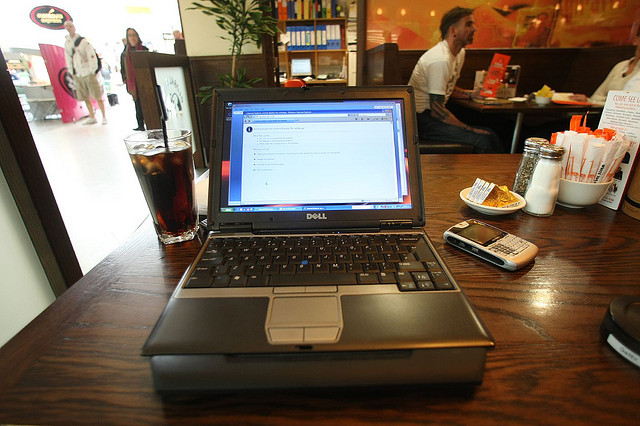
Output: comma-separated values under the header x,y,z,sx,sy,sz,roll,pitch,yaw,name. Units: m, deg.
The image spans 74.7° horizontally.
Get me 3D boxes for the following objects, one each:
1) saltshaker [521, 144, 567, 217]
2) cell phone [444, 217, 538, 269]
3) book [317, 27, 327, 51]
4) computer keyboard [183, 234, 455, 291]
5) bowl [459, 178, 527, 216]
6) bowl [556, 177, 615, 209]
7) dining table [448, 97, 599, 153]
x,y,z,sx,sy,sz,roll,pitch,yaw,name
0.674,-0.088,1.212,0.099,0.192,0.095,-14,21,-32,saltshaker
0.434,0.074,1.058,0.116,0.036,0.174,-25,40,-37,cell phone
0.026,-2.039,4.940,0.126,0.248,0.043,-4,30,1,book
-0.002,0.112,0.967,0.584,0.064,0.159,-2,25,2,computer keyboard
0.498,-0.039,1.211,0.137,0.050,0.136,2,18,-1,bowl
0.784,-0.062,1.247,0.125,0.055,0.111,2,20,6,bowl
1.769,-0.619,3.317,1.121,0.402,1.015,-3,11,-17,dining table
